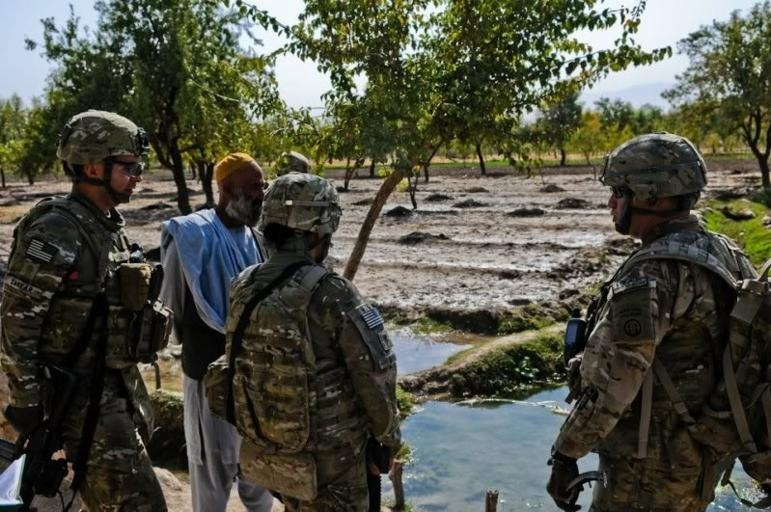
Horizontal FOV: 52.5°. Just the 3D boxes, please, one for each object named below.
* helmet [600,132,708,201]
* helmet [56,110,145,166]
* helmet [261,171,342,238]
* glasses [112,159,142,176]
[{"bbox_3d":[1.990,-0.650,5.704,0.622,0.411,0.482,-4,10,16],"label":"helmet"},{"bbox_3d":[-2.220,-0.953,6.165,0.513,0.322,0.461,3,12,-16],"label":"helmet"},{"bbox_3d":[-0.620,-0.415,5.735,0.533,0.416,0.396,-5,24,-20],"label":"helmet"},{"bbox_3d":[-2.021,-0.703,6.160,0.138,0.052,0.135,15,10,26],"label":"glasses"}]
